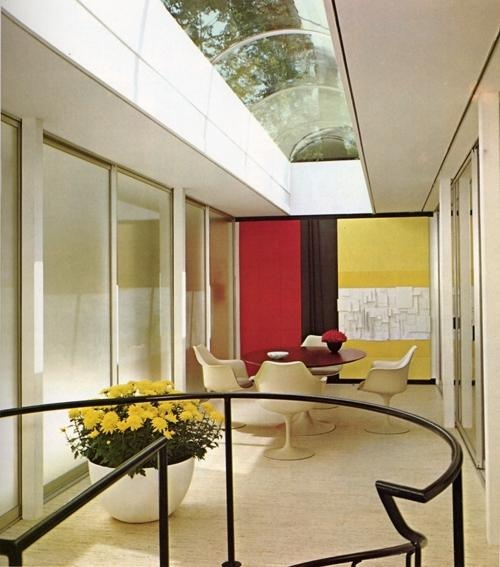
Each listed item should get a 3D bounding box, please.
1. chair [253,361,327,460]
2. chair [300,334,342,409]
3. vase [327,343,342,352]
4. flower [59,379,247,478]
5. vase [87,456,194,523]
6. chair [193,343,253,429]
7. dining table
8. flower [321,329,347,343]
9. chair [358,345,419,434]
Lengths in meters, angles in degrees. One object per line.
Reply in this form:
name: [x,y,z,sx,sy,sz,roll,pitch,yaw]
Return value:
chair: [0.333,1.085,4.466,0.568,0.812,0.692,0,-3,1]
chair: [0.884,1.137,6.098,0.563,0.727,0.559,-17,-1,24]
vase: [0.974,0.743,5.765,0.127,0.094,0.125,2,-8,-11]
flower: [-0.621,0.867,3.079,0.885,0.481,0.852,2,-5,-17]
vase: [-0.612,1.230,3.101,0.627,0.378,0.606,1,-12,-35]
chair: [-0.267,1.069,5.371,0.609,0.761,0.608,-1,-5,-7]
dining table: [0.622,1.045,5.368,0.969,0.588,0.951,1,-4,-19]
flower: [1.006,0.622,5.791,0.178,0.113,0.175,2,-2,-40]
chair: [1.355,1.080,5.108,0.651,0.824,0.650,2,-6,-9]
